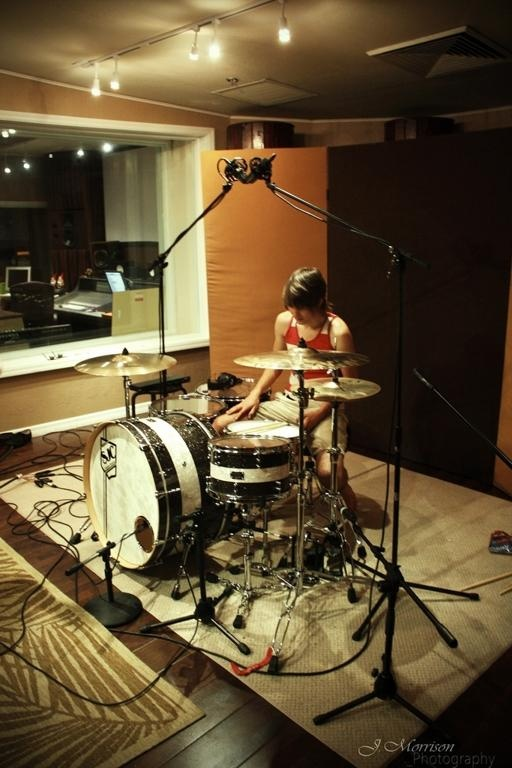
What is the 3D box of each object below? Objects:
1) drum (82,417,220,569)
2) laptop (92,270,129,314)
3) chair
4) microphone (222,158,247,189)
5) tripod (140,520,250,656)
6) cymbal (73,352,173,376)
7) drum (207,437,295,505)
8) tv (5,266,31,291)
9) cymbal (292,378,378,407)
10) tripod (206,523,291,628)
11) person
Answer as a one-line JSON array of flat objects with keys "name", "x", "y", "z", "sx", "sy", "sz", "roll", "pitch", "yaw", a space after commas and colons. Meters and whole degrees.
[{"name": "drum", "x": -0.449, "y": 0.448, "z": 2.621, "sx": 0.593, "sy": 0.601, "sz": 0.464, "roll": 0, "pitch": 8, "yaw": 38}, {"name": "laptop", "x": -1.146, "y": -0.776, "z": 5.059, "sx": 0.358, "sy": 0.340, "sz": 0.297, "roll": 17, "pitch": 27, "yaw": 34}, {"name": "chair", "x": -1.618, "y": -0.704, "z": 4.869, "sx": 0.565, "sy": 0.547, "sz": 0.395, "roll": 11, "pitch": 13, "yaw": 41}, {"name": "microphone", "x": -0.089, "y": -0.900, "z": 2.606, "sx": 0.088, "sy": 0.106, "sz": 0.208, "roll": -1, "pitch": 12, "yaw": -2}, {"name": "tripod", "x": -0.177, "y": 0.681, "z": 2.111, "sx": 0.368, "sy": 0.412, "sz": 0.335, "roll": -12, "pitch": 17, "yaw": -36}, {"name": "cymbal", "x": -0.566, "y": -0.096, "z": 2.805, "sx": 0.215, "sy": 0.051, "sz": 0.222, "roll": 9, "pitch": 21, "yaw": 20}, {"name": "drum", "x": -0.039, "y": 0.276, "z": 2.214, "sx": 0.251, "sy": 0.152, "sz": 0.246, "roll": 0, "pitch": 6, "yaw": 0}, {"name": "tv", "x": -1.740, "y": -0.768, "z": 4.479, "sx": 0.019, "sy": 0.177, "sz": 0.198, "roll": 24, "pitch": 5, "yaw": 27}, {"name": "cymbal", "x": 0.324, "y": 0.024, "z": 2.317, "sx": 0.164, "sy": 0.058, "sz": 0.159, "roll": -23, "pitch": 29, "yaw": -38}, {"name": "tripod", "x": -0.055, "y": 0.785, "z": 2.545, "sx": 0.335, "sy": 0.339, "sz": 0.364, "roll": -1, "pitch": 7, "yaw": -44}, {"name": "person", "x": 0.222, "y": 0.045, "z": 2.926, "sx": 0.819, "sy": 1.151, "sz": 0.610, "roll": 9, "pitch": 21, "yaw": 30}]
